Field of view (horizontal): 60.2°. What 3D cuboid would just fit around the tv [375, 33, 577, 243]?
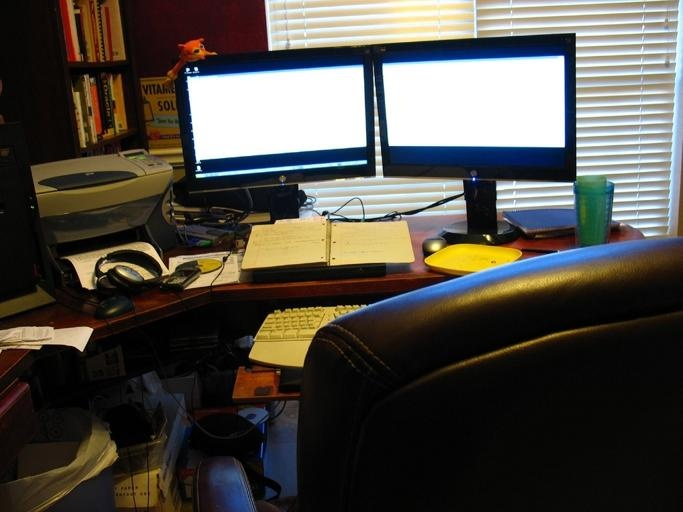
[{"bbox_3d":[0.364,-0.407,1.668,0.593,0.513,0.089,-11,2,24],"label":"tv"}]

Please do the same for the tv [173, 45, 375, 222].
[{"bbox_3d":[-0.214,-0.373,1.789,0.659,0.595,0.219,-3,13,-5],"label":"tv"}]

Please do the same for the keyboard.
[{"bbox_3d":[-0.124,0.180,1.321,0.254,0.055,0.200,-3,32,7],"label":"keyboard"}]

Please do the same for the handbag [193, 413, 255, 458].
[{"bbox_3d":[-0.382,0.593,1.945,0.193,0.059,0.140,-3,19,-36],"label":"handbag"}]

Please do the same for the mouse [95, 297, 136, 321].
[{"bbox_3d":[-0.527,0.117,1.359,0.085,0.057,0.062,-15,4,-38],"label":"mouse"}]

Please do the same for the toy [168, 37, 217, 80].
[{"bbox_3d":[-0.444,-0.580,1.710,0.132,0.124,0.141,-13,3,-13],"label":"toy"}]
